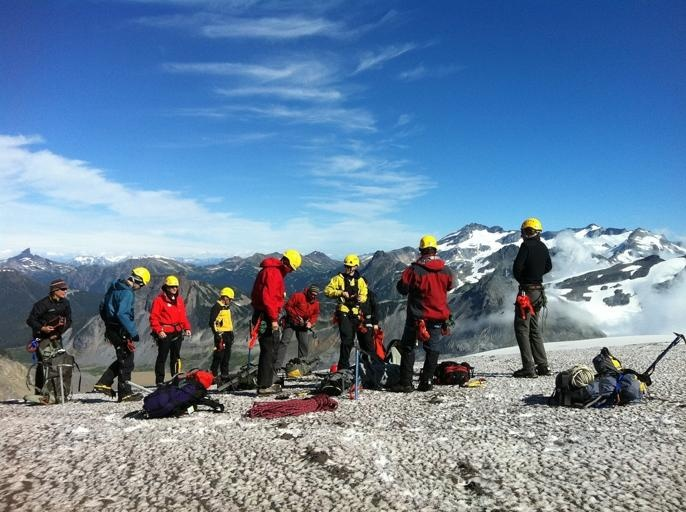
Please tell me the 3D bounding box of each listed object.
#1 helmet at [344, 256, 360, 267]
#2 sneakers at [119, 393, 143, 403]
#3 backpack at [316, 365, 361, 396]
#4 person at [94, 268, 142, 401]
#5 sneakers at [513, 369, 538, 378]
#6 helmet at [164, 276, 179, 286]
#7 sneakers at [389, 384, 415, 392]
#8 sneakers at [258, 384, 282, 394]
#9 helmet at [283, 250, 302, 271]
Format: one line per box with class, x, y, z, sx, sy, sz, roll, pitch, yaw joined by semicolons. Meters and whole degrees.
helmet;0.287;0.134;14.648;0.392;0.276;0.488;1;-1;44
sneakers;-5.590;3.733;13.825;0.542;0.210;0.186;11;-16;-26
backpack;-0.102;3.077;12.751;1.006;0.578;0.496;2;-7;-33
person;-6.035;2.036;14.238;1.193;3.557;1.559;1;-7;-21
sneakers;5.004;3.237;14.402;0.568;0.227;0.248;0;-5;43
helmet;-5.349;0.763;16.323;0.379;0.234;0.497;7;-6;-37
sneakers;1.486;3.275;13.113;0.613;0.226;0.223;0;-13;17
sneakers;-1.869;3.394;13.315;0.209;0.208;0.543;-7;-17;26
helmet;-1.296;0.114;13.056;0.371;0.450;0.353;-43;-7;12
